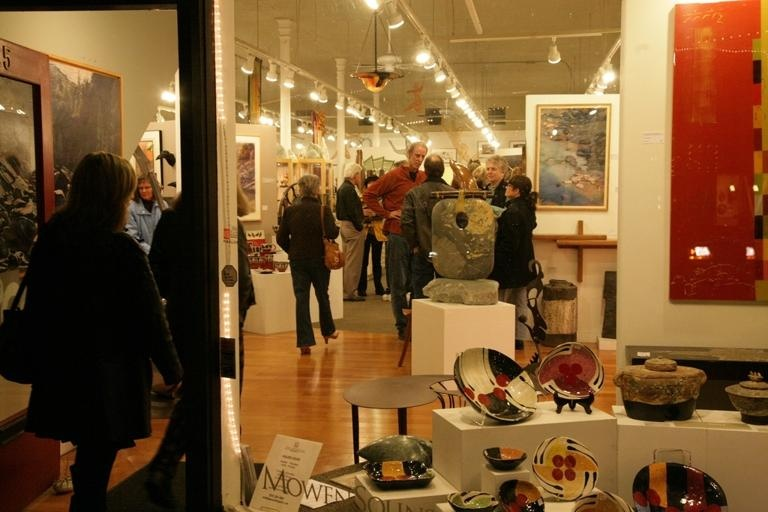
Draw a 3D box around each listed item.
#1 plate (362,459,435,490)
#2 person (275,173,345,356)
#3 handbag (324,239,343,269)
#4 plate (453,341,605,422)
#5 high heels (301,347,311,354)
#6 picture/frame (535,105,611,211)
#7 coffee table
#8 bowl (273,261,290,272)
[{"bbox_3d":[0.073,1.029,3.008,0.317,0.067,0.204,0,6,-6],"label":"plate"},{"bbox_3d":[-0.799,0.092,6.740,0.634,1.875,0.360,-1,6,-9],"label":"person"},{"bbox_3d":[-0.517,-0.014,6.706,0.180,0.332,0.281,1,6,6],"label":"handbag"},{"bbox_3d":[0.713,0.599,3.121,0.699,0.319,0.408,-2,7,-23],"label":"plate"},{"bbox_3d":[-0.820,1.005,6.743,0.072,0.083,0.083,0,-8,1],"label":"high heels"},{"bbox_3d":[2.229,-1.163,7.307,1.172,1.655,0.080,1,5,5],"label":"picture/frame"},{"bbox_3d":[0.115,1.007,3.816,0.633,0.583,0.663,1,6,6],"label":"coffee table"},{"bbox_3d":[-1.315,0.138,8.212,0.132,0.103,0.131,1,-2,0],"label":"bowl"}]
